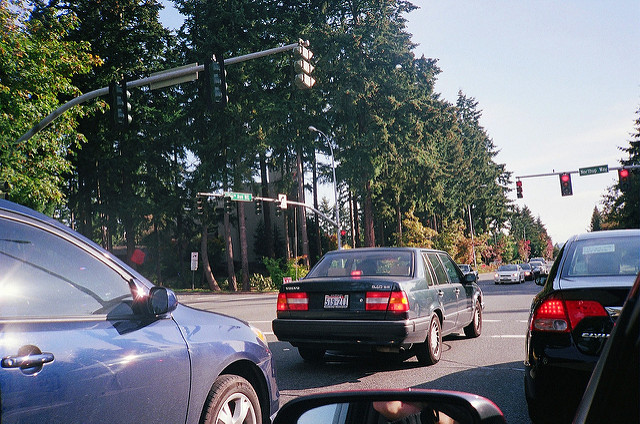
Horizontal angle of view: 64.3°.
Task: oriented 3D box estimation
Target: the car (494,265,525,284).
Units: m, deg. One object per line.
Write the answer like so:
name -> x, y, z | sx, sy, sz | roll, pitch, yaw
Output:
car -> 13.954, 4.703, 37.902 | 1.863, 1.354, 2.675 | -5, -6, 17

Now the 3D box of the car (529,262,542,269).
car -> 22.684, 5.592, 53.580 | 1.083, 0.730, 1.966 | -5, -9, 29

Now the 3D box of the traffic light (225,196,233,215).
traffic light -> -6.010, -0.403, 33.500 | 0.296, 1.151, 1.098 | -5, -7, -24

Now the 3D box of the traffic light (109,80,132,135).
traffic light -> -5.601, -3.149, 14.283 | 0.552, 1.348, 0.986 | -1, -5, -22

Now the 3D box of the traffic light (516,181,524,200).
traffic light -> 12.800, -1.413, 32.751 | 0.208, 1.156, 1.525 | -4, -5, 17

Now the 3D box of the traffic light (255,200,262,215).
traffic light -> -3.684, -0.201, 30.276 | 0.170, 0.761, 0.426 | -5, 0, 3

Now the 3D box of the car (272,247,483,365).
car -> 1.397, 1.524, 9.012 | 1.706, 1.175, 3.417 | -2, -4, 30

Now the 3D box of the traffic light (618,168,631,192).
traffic light -> 17.050, -1.821, 28.661 | 0.471, 1.132, 1.110 | -5, -6, 30

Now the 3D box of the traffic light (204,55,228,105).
traffic light -> -2.861, -3.409, 13.742 | 0.587, 1.505, 0.699 | 1, -14, -19
